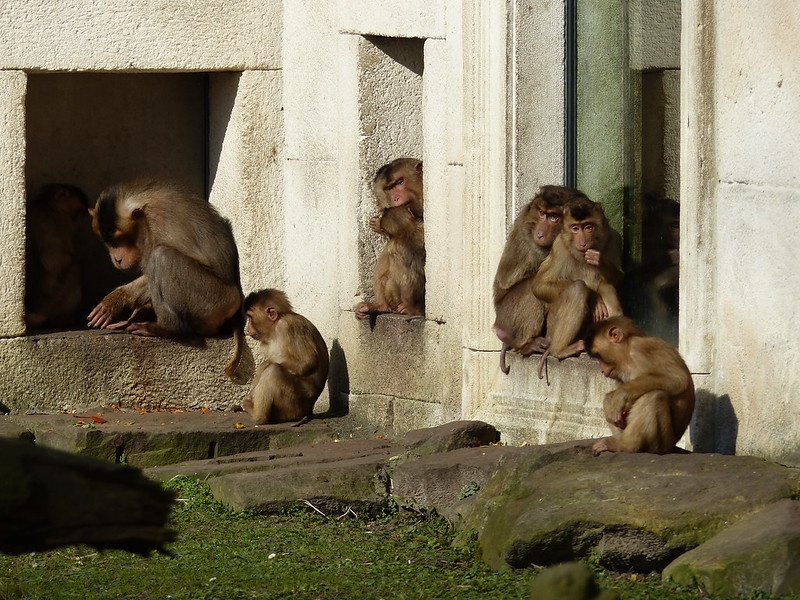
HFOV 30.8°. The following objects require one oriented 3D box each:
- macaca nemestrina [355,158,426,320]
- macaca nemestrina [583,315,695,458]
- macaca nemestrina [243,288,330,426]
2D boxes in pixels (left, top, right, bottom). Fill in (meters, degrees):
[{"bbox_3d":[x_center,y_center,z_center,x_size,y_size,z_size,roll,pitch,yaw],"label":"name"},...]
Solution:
[{"bbox_3d":[0.016,-0.510,12.105,0.495,1.329,0.809,1,3,31],"label":"macaca nemestrina"},{"bbox_3d":[1.549,0.584,9.226,0.631,0.917,0.655,7,-15,-19],"label":"macaca nemestrina"},{"bbox_3d":[-0.892,0.457,11.407,0.633,1.049,0.370,0,2,-6],"label":"macaca nemestrina"}]
